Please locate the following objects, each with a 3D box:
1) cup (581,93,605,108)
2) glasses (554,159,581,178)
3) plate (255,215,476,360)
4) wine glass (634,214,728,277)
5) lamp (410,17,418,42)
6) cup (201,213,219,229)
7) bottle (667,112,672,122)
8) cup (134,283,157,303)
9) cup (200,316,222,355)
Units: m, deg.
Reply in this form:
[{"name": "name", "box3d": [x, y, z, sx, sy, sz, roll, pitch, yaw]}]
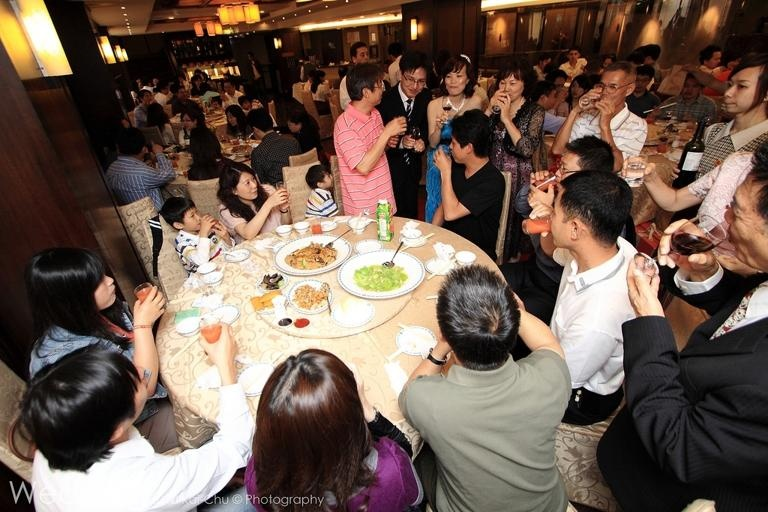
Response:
[{"name": "cup", "box3d": [1.770, -1.314, 4.011, 0.117, 0.087, 0.169, 3, -24, -2]}, {"name": "glasses", "box3d": [1.192, -0.574, 3.075, 0.200, 0.058, 0.197, -3, 25, -11]}, {"name": "plate", "box3d": [-0.048, 0.209, 2.806, 0.770, 0.112, 0.767, -16, 36, -14]}, {"name": "wine glass", "box3d": [1.789, -0.056, 2.810, 0.372, 0.229, 0.377, -28, -8, 27]}, {"name": "lamp", "box3d": [0.603, -4.575, 9.535, 0.070, 0.423, 0.286, -19, 34, -23]}, {"name": "cup", "box3d": [-1.325, -0.249, 3.584, 0.110, 0.094, 0.180, -10, -9, -32]}, {"name": "bottle", "box3d": [3.342, -1.623, 5.507, 0.026, 0.087, 0.035, -1, -10, 25]}, {"name": "cup", "box3d": [-1.384, 0.202, 2.750, 0.099, 0.088, 0.108, -20, 30, 12]}, {"name": "cup", "box3d": [-0.896, 0.388, 2.449, 0.103, 0.139, 0.139, -2, 4, -5]}]
